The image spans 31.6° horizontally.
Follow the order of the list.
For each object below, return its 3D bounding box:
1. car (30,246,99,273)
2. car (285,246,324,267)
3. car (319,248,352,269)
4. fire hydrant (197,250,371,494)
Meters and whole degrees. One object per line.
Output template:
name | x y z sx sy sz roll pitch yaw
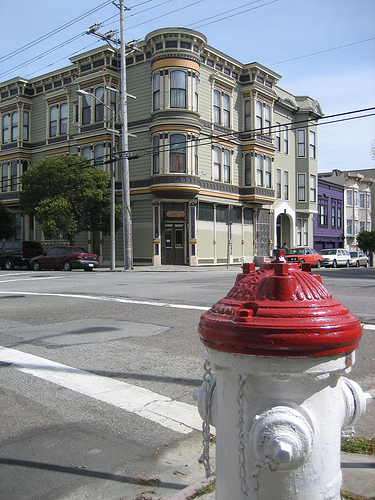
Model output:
car | -5.081 0.359 27.946 1.879 1.050 2.950 -2 2 -26
car | 4.919 0.241 28.048 1.169 0.828 2.410 -2 -3 37
car | 8.071 0.432 37.116 0.982 0.766 2.141 -3 -5 38
fire hydrant | 0.405 0.574 2.874 0.758 1.034 0.572 -2 1 4
